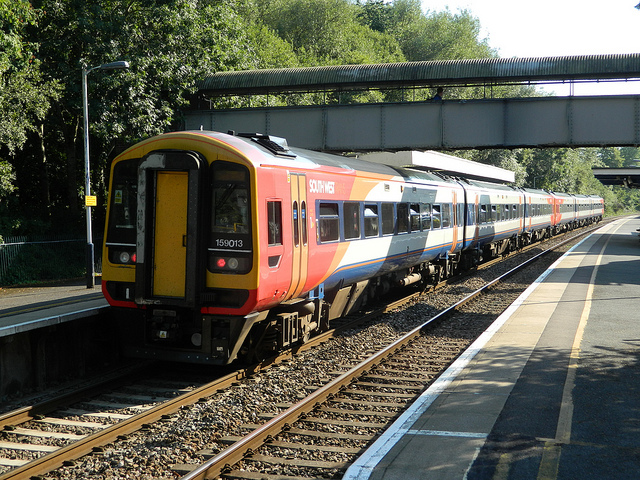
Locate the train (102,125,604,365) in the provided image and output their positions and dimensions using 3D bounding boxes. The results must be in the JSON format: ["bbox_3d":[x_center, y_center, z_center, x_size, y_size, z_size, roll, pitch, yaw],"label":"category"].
[{"bbox_3d":[4.541,-0.006,25.524,3.849,4.947,34.246,0,0,28],"label":"train"}]

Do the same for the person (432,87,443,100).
[{"bbox_3d":[4.983,-6.147,24.975,0.372,0.721,1.766,5,6,11],"label":"person"}]
